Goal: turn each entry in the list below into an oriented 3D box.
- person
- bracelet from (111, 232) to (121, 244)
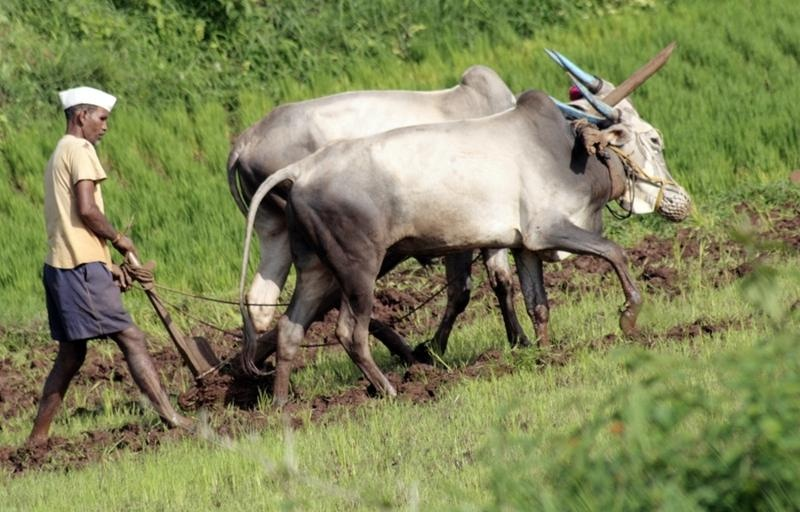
[{"bbox_3d":[-3.289,0.323,14.025,1.367,2.973,0.990,-5,19,-12],"label":"person"},{"bbox_3d":[-2.969,-0.179,14.001,0.091,0.079,0.038,-42,-13,-8],"label":"bracelet"}]
